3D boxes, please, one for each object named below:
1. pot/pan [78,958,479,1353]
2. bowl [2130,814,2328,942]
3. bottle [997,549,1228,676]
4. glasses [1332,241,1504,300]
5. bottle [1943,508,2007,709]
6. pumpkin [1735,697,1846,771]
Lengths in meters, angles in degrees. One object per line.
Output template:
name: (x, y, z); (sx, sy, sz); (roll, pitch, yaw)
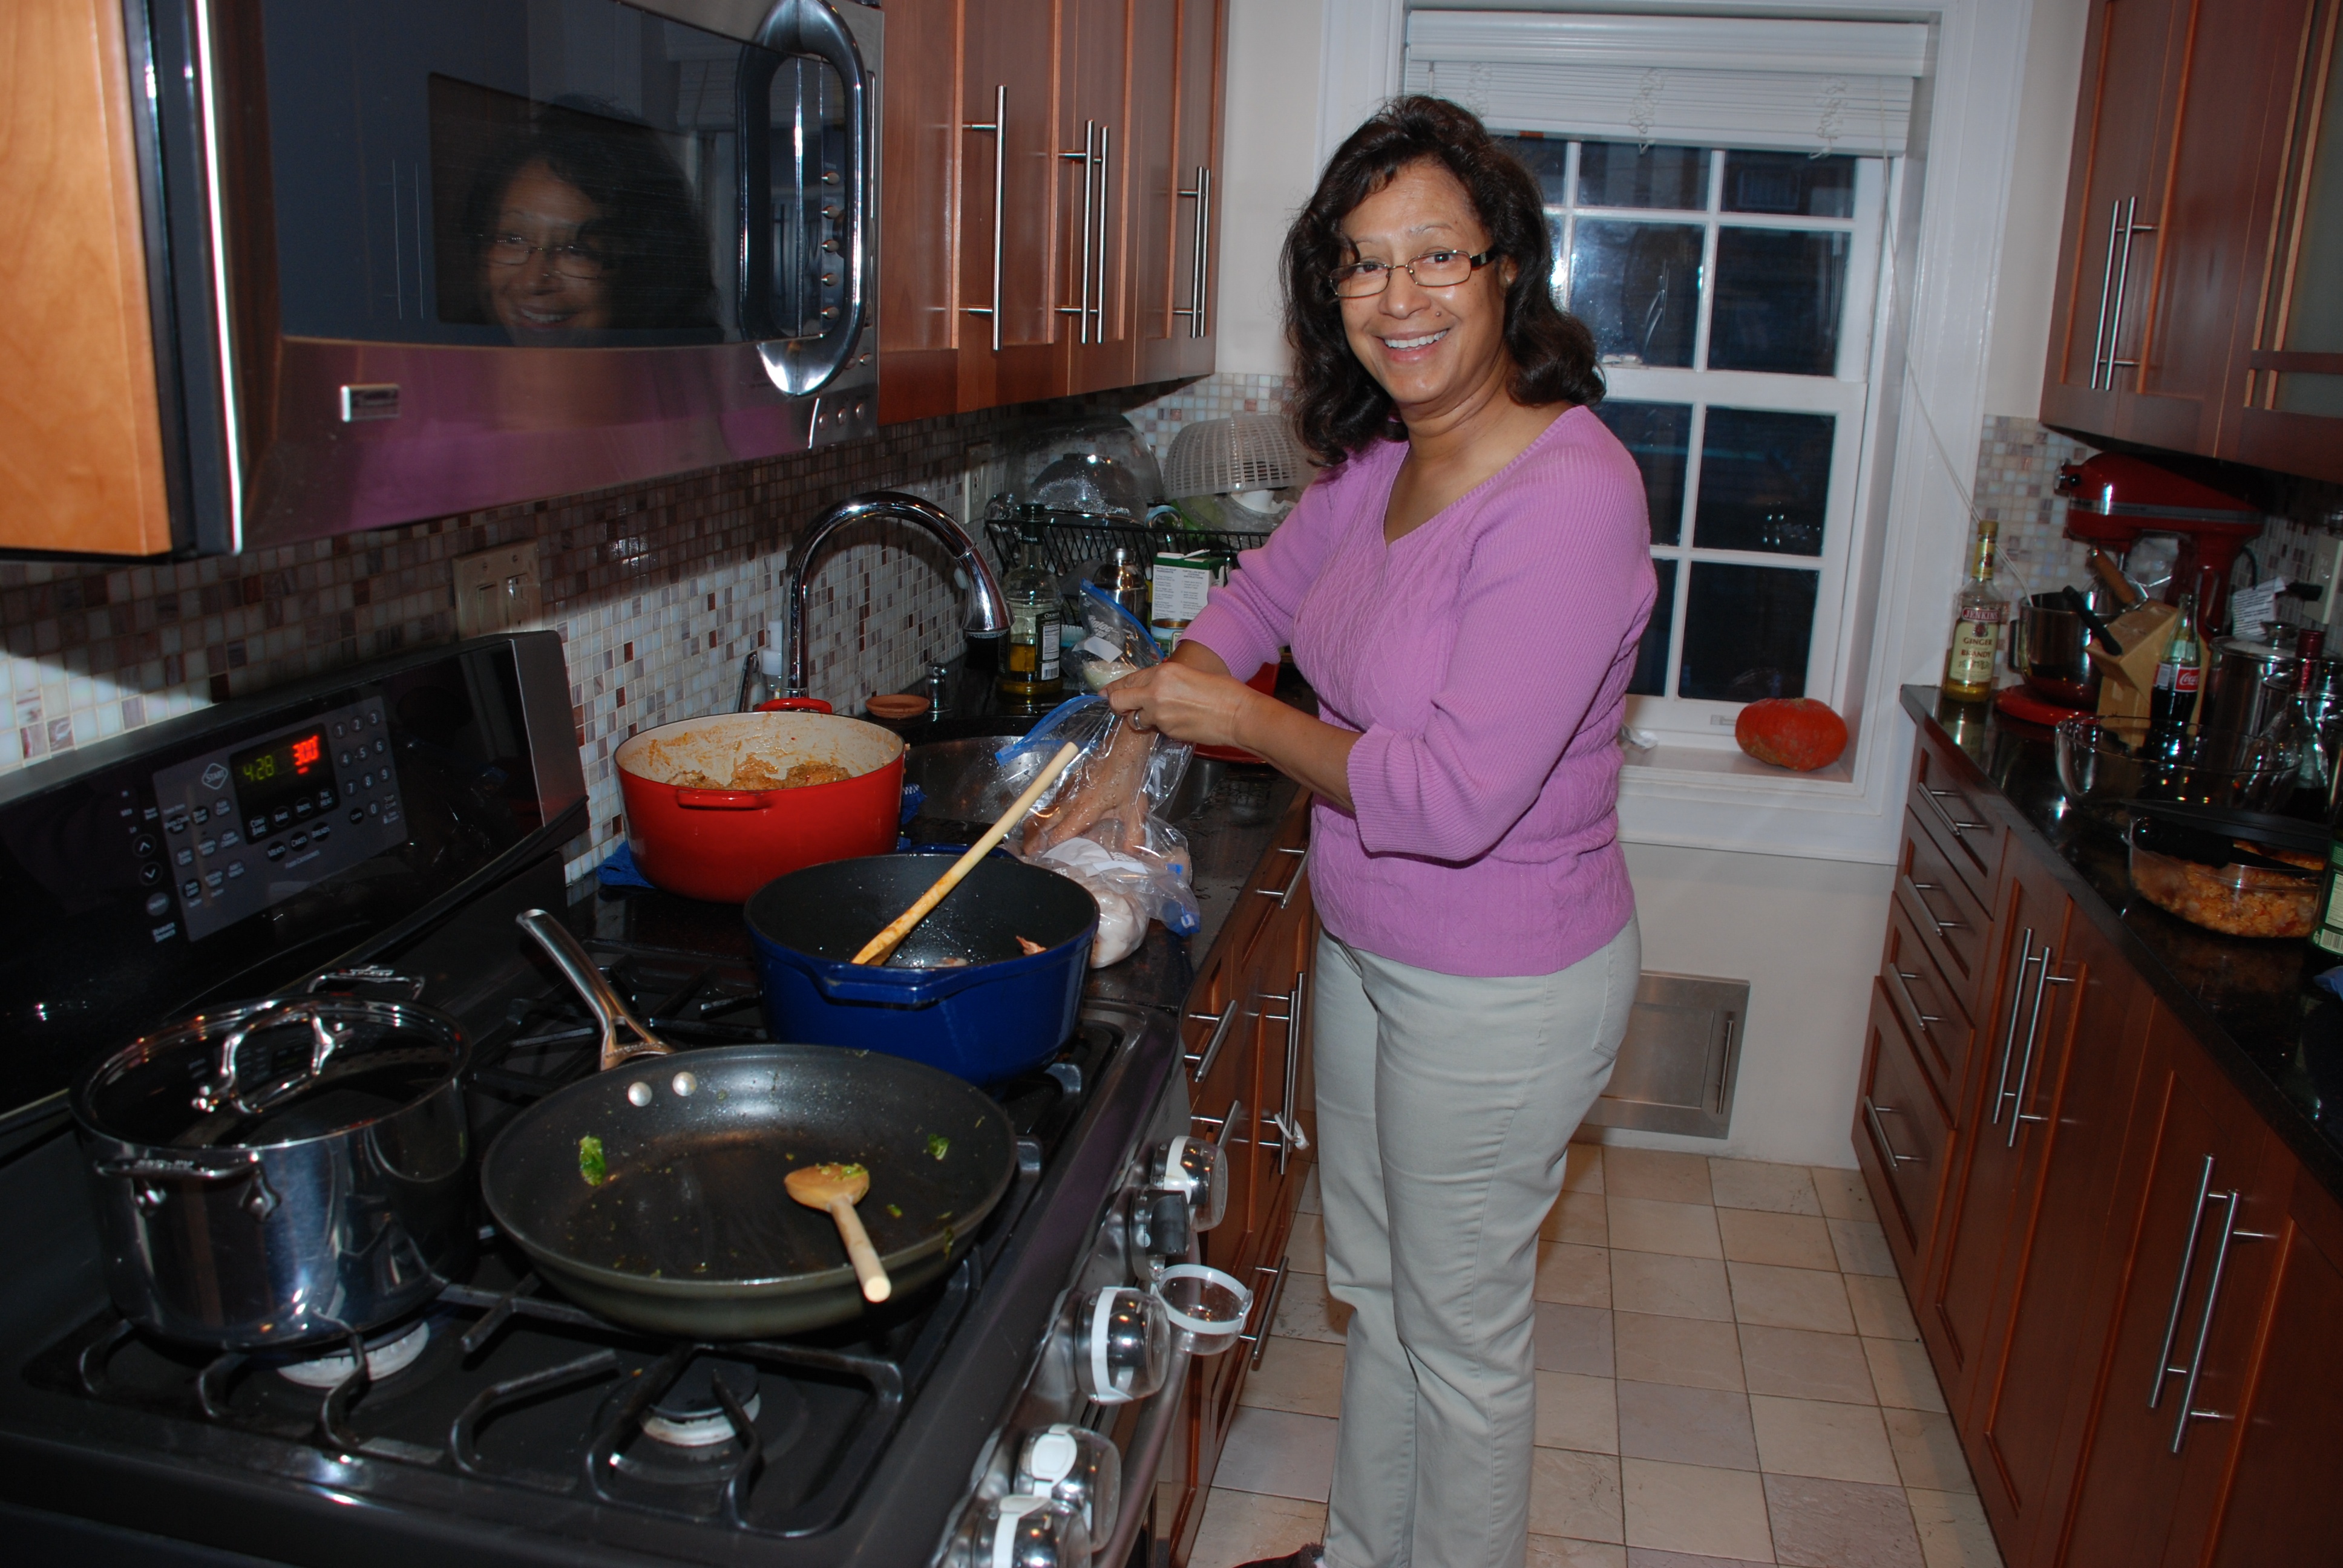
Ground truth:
pot/pan: (-0.732, 0.296, 1.386); (0.278, 0.208, 0.266); (-4, 14, -13)
bowl: (1.401, 0.115, 2.193); (0.146, 0.060, 0.159); (2, 8, 0)
bottle: (-0.120, -0.311, 2.996); (0.333, 0.103, 0.257); (30, 13, 23)
glasses: (0.294, -0.605, 1.957); (0.192, 0.052, 0.072); (3, 16, 10)
bottle: (1.675, -0.366, 3.401); (0.113, 0.356, 0.286); (8, 17, 27)
pumpkin: (1.384, -0.109, 3.608); (0.154, 0.109, 0.197); (-2, 9, 5)
